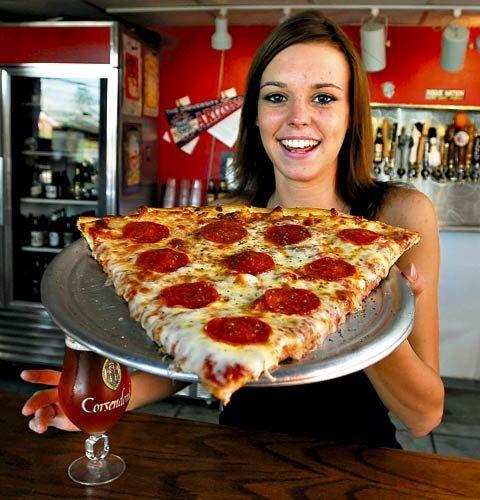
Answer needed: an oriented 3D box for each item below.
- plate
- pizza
[{"bbox_3d":[-0.094,0.126,1.157,0.941,0.190,0.551,4,9,15],"label":"plate"},{"bbox_3d":[0.032,0.089,1.076,0.664,0.039,0.574,9,-27,27],"label":"pizza"}]
